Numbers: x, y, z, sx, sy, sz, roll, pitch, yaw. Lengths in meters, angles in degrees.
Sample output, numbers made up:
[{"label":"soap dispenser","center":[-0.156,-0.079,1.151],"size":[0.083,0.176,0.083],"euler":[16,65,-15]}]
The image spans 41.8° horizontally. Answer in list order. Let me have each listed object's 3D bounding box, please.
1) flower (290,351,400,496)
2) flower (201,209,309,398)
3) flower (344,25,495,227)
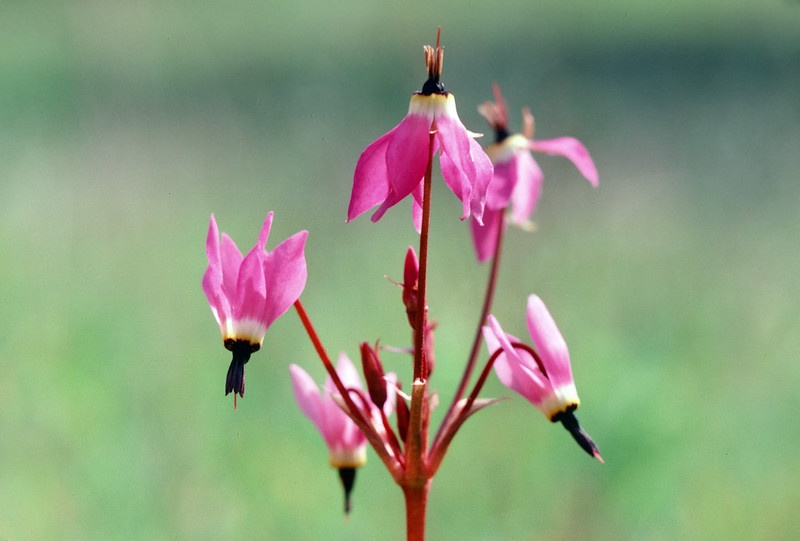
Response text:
[{"label":"flower","center":[-0.091,0.258,1.752],"size":[0.121,0.206,0.129],"euler":[-9,-14,29]},{"label":"flower","center":[-0.235,0.054,1.595],"size":[0.134,0.274,0.133],"euler":[5,0,-4]},{"label":"flower","center":[0.049,-0.223,1.603],"size":[0.169,0.308,0.231],"euler":[-1,13,-3]}]
